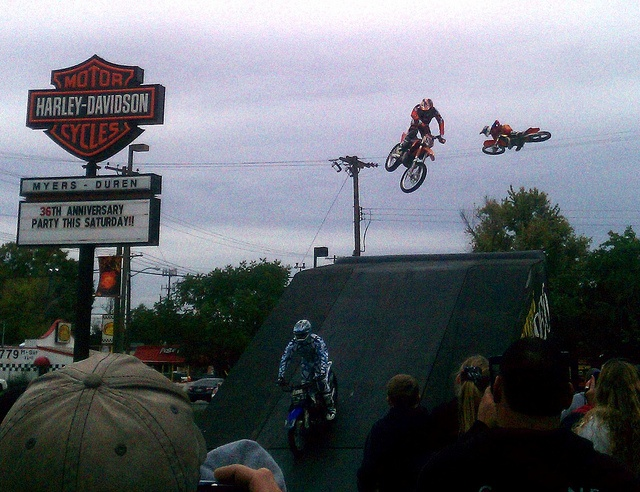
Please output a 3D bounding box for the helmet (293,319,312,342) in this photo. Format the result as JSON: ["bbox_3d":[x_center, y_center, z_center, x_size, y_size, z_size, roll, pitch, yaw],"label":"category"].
[{"bbox_3d":[-0.242,0.985,8.953,0.193,0.236,0.250,-10,-11,13],"label":"helmet"}]

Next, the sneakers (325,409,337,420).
[{"bbox_3d":[0.120,2.001,9.096,0.129,0.100,0.059,-13,15,-41],"label":"sneakers"}]

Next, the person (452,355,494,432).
[{"bbox_3d":[1.102,1.073,5.478,0.226,0.217,0.707,13,7,3],"label":"person"}]

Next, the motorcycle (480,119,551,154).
[{"bbox_3d":[5.931,-3.450,23.932,0.830,0.984,2.780,4,-4,-22],"label":"motorcycle"}]

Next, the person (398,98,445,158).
[{"bbox_3d":[3.051,-3.572,22.668,0.957,1.494,1.641,3,-4,-14],"label":"person"}]
